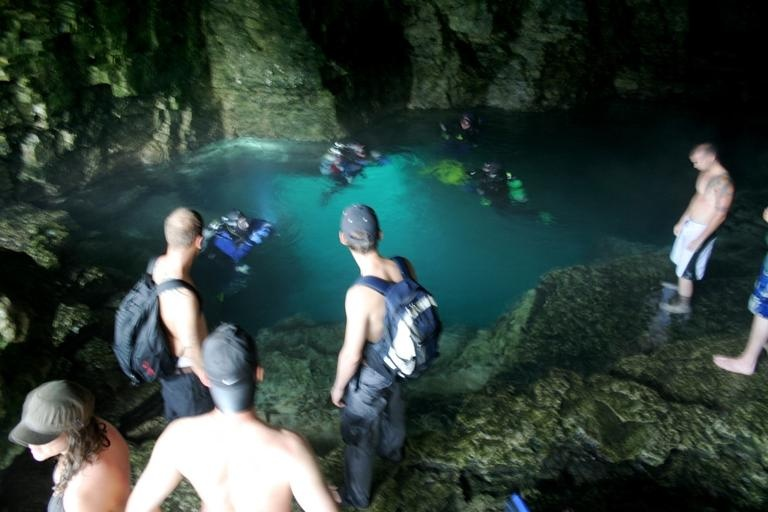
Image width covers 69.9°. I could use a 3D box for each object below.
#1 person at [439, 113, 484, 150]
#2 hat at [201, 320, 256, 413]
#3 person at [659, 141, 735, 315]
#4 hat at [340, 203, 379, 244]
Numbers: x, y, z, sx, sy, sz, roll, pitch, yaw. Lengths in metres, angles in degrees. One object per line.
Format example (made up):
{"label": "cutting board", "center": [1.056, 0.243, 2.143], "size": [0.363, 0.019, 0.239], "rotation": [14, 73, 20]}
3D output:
{"label": "person", "center": [2.064, -3.357, 14.680], "size": [1.117, 0.965, 0.284], "rotation": [4, 23, 9]}
{"label": "hat", "center": [-1.784, 1.325, 6.441], "size": [0.721, 1.015, 1.008], "rotation": [-1, 40, -8]}
{"label": "person", "center": [6.242, -0.520, 10.819], "size": [1.229, 4.172, 1.461], "rotation": [5, 51, 23]}
{"label": "hat", "center": [-0.346, -0.420, 7.531], "size": [0.486, 0.546, 0.560], "rotation": [-2, -17, -6]}
